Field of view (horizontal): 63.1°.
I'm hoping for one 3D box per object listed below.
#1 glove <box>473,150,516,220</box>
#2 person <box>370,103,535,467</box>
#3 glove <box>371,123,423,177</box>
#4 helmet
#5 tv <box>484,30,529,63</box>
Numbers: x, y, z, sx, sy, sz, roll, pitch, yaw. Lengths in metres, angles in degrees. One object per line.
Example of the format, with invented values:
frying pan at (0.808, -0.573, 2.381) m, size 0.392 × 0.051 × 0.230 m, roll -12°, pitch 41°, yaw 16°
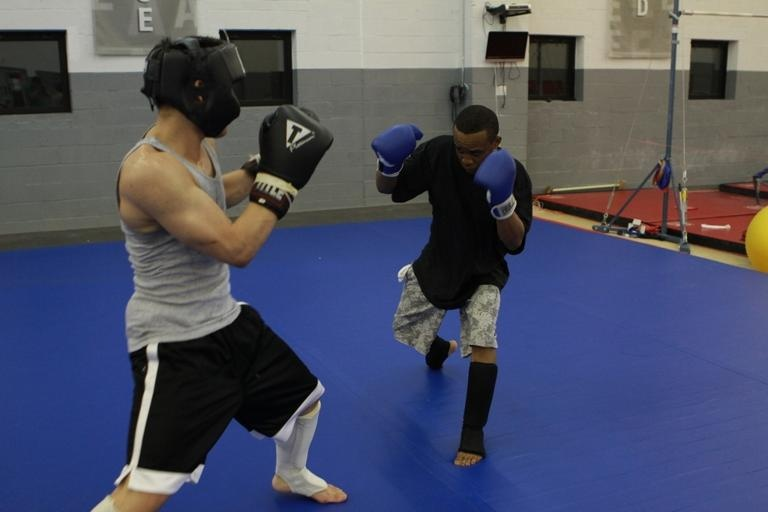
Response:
glove at (0.571, -0.355, 3.165) m, size 0.198 × 0.356 × 0.277 m, roll 1°, pitch 13°, yaw 11°
person at (0.381, 0.094, 3.465) m, size 0.681 × 1.789 × 0.797 m, roll -12°, pitch 16°, yaw -42°
glove at (0.074, -0.566, 3.391) m, size 0.238 × 0.274 × 0.249 m, roll 1°, pitch 12°, yaw 8°
helmet at (-0.707, -0.687, 2.477) m, size 0.398 × 0.371 × 0.362 m, roll -5°, pitch 17°, yaw -14°
tv at (1.540, -2.631, 7.903) m, size 0.585 × 0.357 × 0.391 m, roll -2°, pitch 2°, yaw -11°
